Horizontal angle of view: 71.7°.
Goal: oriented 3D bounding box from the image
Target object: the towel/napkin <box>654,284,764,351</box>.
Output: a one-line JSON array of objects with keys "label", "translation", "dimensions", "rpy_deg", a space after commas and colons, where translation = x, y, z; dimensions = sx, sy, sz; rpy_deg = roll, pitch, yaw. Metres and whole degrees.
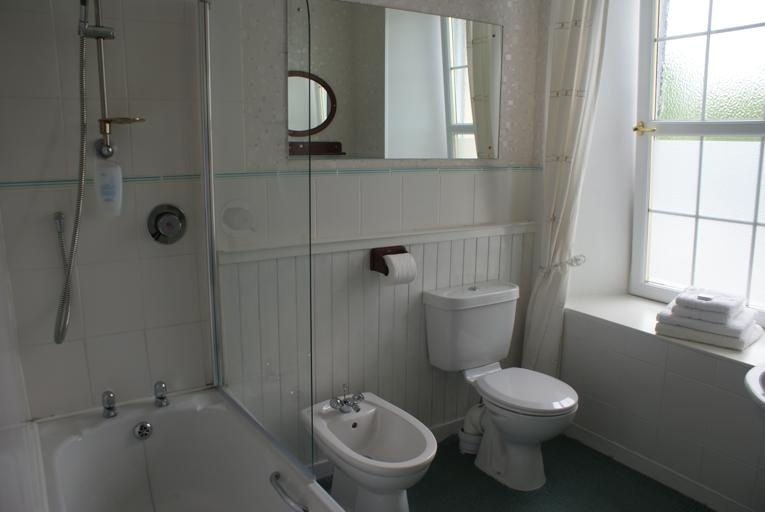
[{"label": "towel/napkin", "translation": [1.823, 0.269, 2.904], "dimensions": [0.360, 0.179, 0.366], "rpy_deg": [8, 17, 37]}]

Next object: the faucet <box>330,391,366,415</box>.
[{"label": "faucet", "translation": [-0.199, 0.776, 2.822], "dimensions": [0.142, 0.057, 0.100], "rpy_deg": [-8, 16, -41]}]

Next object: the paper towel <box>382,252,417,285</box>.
[{"label": "paper towel", "translation": [0.096, 0.043, 2.928], "dimensions": [0.196, 0.181, 0.152], "rpy_deg": [-7, 21, -39]}]

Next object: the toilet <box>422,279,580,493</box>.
[{"label": "toilet", "translation": [0.675, 0.742, 3.049], "dimensions": [0.475, 1.051, 0.812], "rpy_deg": [-13, 18, -34]}]
